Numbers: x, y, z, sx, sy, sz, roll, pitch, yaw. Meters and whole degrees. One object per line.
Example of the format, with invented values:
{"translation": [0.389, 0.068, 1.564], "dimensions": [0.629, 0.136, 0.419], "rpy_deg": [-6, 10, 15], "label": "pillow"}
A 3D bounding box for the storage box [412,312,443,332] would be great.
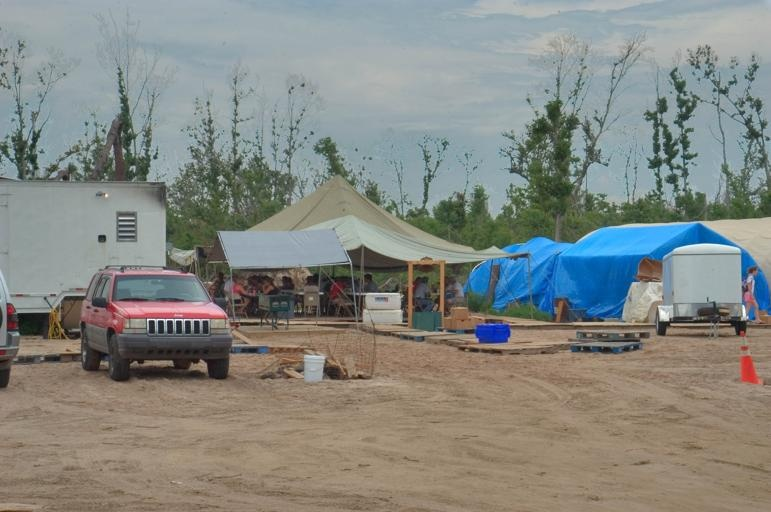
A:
{"translation": [1.248, 1.968, 32.694], "dimensions": [0.905, 0.647, 0.526], "rpy_deg": [0, -2, -12], "label": "storage box"}

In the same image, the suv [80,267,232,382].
{"translation": [-5.061, 1.453, 23.012], "dimensions": [3.546, 2.304, 2.156], "rpy_deg": [5, 9, 33], "label": "suv"}

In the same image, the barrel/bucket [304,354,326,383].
{"translation": [-1.545, 2.376, 22.835], "dimensions": [0.515, 0.748, 0.519], "rpy_deg": [1, -11, 0], "label": "barrel/bucket"}

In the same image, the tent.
{"translation": [8.432, 0.608, 38.930], "dimensions": [11.425, 3.559, 3.378], "rpy_deg": [0, -3, 4], "label": "tent"}
